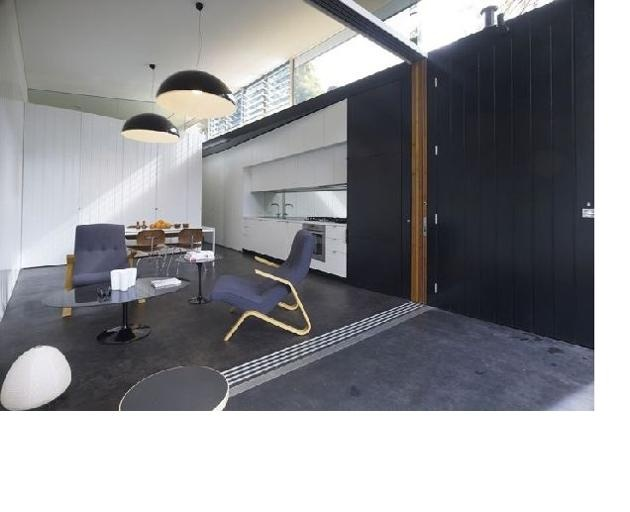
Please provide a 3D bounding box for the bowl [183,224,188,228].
[{"bbox_3d":[-2.560,-0.588,8.390,0.076,0.062,0.081,0,1,0],"label":"bowl"}]

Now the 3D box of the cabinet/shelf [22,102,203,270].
[{"bbox_3d":[-3.675,-1.185,7.528,1.072,2.977,3.070,5,5,41],"label":"cabinet/shelf"}]

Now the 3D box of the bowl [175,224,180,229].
[{"bbox_3d":[-2.765,-0.592,8.505,0.077,0.057,0.084,-1,-1,0],"label":"bowl"}]

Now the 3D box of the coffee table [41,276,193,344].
[{"bbox_3d":[-1.806,0.529,3.974,1.128,0.537,0.860,-2,14,-11],"label":"coffee table"}]

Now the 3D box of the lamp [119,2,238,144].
[{"bbox_3d":[-2.091,-2.841,6.384,0.745,1.774,1.785,4,-5,-35],"label":"lamp"}]

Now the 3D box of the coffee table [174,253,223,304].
[{"bbox_3d":[-1.472,0.185,5.515,0.557,0.723,0.596,-7,12,-44],"label":"coffee table"}]
